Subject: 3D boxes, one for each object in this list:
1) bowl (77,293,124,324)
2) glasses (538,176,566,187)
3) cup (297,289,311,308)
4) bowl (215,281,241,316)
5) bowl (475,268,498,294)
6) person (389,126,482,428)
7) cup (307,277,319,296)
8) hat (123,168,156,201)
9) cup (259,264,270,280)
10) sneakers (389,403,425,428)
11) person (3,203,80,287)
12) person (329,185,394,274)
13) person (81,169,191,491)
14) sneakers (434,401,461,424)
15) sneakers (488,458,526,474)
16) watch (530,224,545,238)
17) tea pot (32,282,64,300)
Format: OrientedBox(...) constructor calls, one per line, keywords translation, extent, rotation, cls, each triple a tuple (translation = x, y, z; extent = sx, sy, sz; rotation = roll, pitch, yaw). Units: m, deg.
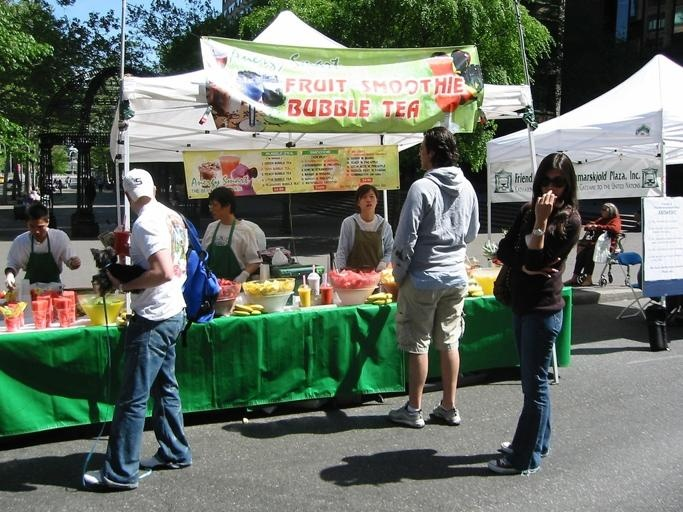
OrientedBox(translation=(-2.135, 0.464, 5.374), extent=(0.317, 0.230, 0.326), rotation=(-1, -6, 0), cls="bowl")
OrientedBox(translation=(1.609, -0.571, 4.582), extent=(0.163, 0.085, 0.035), rotation=(4, 12, 20), cls="glasses")
OrientedBox(translation=(-0.362, 0.399, 5.876), extent=(0.146, 0.186, 0.150), rotation=(-1, 4, 0), cls="cup")
OrientedBox(translation=(-1.045, 0.388, 5.565), extent=(0.254, 0.249, 0.277), rotation=(3, -1, 0), cls="bowl")
OrientedBox(translation=(1.571, 0.263, 6.552), extent=(0.262, 0.280, 0.271), rotation=(-1, 1, 0), cls="bowl")
OrientedBox(translation=(0.820, 0.232, 5.427), extent=(0.760, 2.727, 0.418), rotation=(-1, 12, -2), cls="person")
OrientedBox(translation=(-0.276, 0.303, 6.112), extent=(0.142, 0.192, 0.145), rotation=(0, 6, 0), cls="cup")
OrientedBox(translation=(-1.538, -0.566, 4.596), extent=(0.180, 0.162, 0.265), rotation=(-14, 27, -29), cls="hat")
OrientedBox(translation=(-0.798, 0.160, 6.255), extent=(0.127, 0.232, 0.133), rotation=(-1, 0, 0), cls="cup")
OrientedBox(translation=(0.607, 1.485, 5.689), extent=(0.375, 0.200, 0.150), rotation=(7, 5, 35), cls="sneakers")
OrientedBox(translation=(-3.377, -0.105, 6.551), extent=(0.654, 0.944, 0.805), rotation=(8, 15, 35), cls="person")
OrientedBox(translation=(0.188, -0.343, 7.117), extent=(0.831, 1.326, 0.856), rotation=(0, 4, -8), cls="person")
OrientedBox(translation=(-1.575, 0.562, 4.702), extent=(0.815, 2.436, 0.490), rotation=(-3, 12, -15), cls="person")
OrientedBox(translation=(0.981, 1.474, 5.708), extent=(0.119, 0.145, 0.306), rotation=(-3, 8, -22), cls="sneakers")
OrientedBox(translation=(1.344, 1.685, 4.913), extent=(0.265, 0.112, 0.110), rotation=(6, 1, 8), cls="sneakers")
OrientedBox(translation=(1.457, -0.188, 4.466), extent=(0.076, 0.110, 0.056), rotation=(10, 38, 17), cls="watch")
OrientedBox(translation=(-2.967, 0.334, 6.060), extent=(0.272, 0.126, 0.360), rotation=(0, -7, -10), cls="tea pot")
